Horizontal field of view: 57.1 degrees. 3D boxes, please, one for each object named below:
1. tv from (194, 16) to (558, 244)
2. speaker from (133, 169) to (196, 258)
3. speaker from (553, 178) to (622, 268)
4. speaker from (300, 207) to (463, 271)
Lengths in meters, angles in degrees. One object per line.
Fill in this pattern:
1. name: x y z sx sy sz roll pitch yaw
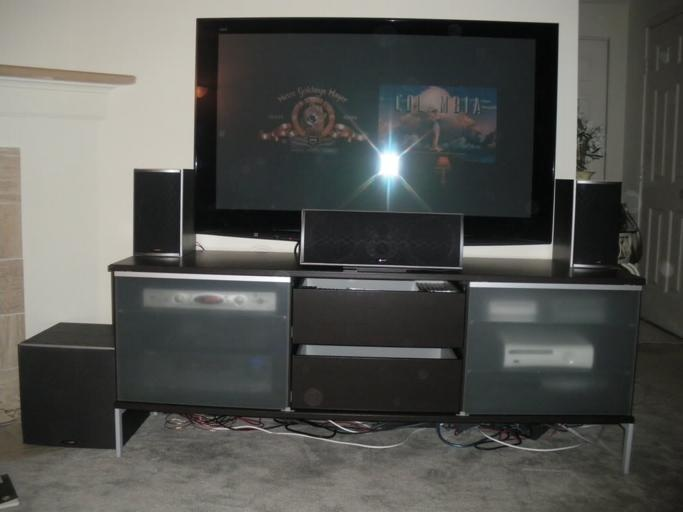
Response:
1. tv: 0.158 -0.642 3.302 1.837 1.175 0.156 2 -5 3
2. speaker: -0.891 -0.213 3.172 0.309 0.446 0.165 -2 5 -17
3. speaker: 1.226 -0.170 3.180 0.329 0.439 0.241 2 6 26
4. speaker: 0.197 -0.081 3.057 0.776 0.274 0.121 2 -4 0
